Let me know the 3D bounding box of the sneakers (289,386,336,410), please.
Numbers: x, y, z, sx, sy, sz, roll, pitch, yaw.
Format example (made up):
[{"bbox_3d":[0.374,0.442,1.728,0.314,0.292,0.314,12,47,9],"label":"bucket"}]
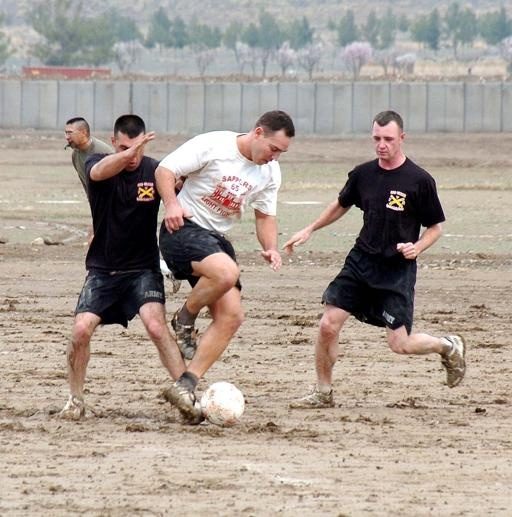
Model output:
[{"bbox_3d":[0.507,1.202,11.411,0.412,0.196,0.151,1,0,-9],"label":"sneakers"}]

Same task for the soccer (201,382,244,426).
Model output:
[{"bbox_3d":[-0.237,1.130,10.910,0.334,0.338,0.341,19,10,30],"label":"soccer"}]

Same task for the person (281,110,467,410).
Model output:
[{"bbox_3d":[1.065,0.019,11.332,1.411,2.515,0.668,1,10,5],"label":"person"}]

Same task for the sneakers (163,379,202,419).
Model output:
[{"bbox_3d":[-0.561,1.173,10.805,0.168,0.326,0.240,-41,5,-25],"label":"sneakers"}]

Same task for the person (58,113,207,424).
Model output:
[{"bbox_3d":[-1.099,0.121,10.973,0.991,2.326,0.513,-1,10,-9],"label":"person"}]

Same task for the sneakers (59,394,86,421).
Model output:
[{"bbox_3d":[-1.477,1.219,10.974,0.191,0.190,0.178,5,2,12],"label":"sneakers"}]

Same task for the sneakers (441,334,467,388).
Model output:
[{"bbox_3d":[1.745,0.890,11.730,0.208,0.479,0.172,-11,18,-12],"label":"sneakers"}]
